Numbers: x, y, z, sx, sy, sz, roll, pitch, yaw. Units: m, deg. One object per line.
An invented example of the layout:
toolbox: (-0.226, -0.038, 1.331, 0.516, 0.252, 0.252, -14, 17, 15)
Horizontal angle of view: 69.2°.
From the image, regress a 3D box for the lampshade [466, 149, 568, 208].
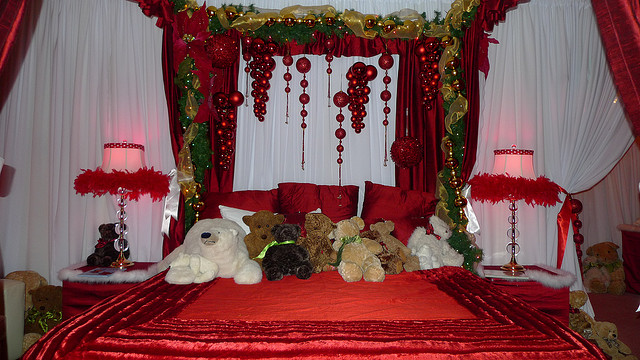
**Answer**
lampshade: (2.374, -0.009, 5.688, 0.753, 0.516, 0.780, 2, 1, 27)

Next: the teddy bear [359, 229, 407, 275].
teddy bear: (0.751, 0.742, 5.261, 0.757, 0.334, 0.525, -9, -1, 9)

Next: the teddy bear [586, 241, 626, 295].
teddy bear: (4.303, 1.334, 7.050, 0.521, 0.791, 0.491, -5, -4, 30)

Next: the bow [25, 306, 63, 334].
bow: (-3.187, 1.601, 5.398, 0.320, 0.329, 0.115, -16, -15, -16)

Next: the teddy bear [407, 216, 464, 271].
teddy bear: (1.321, 0.719, 5.429, 0.649, 0.669, 0.609, 5, -1, 25)

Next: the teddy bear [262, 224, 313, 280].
teddy bear: (-0.364, 0.794, 5.077, 0.557, 0.721, 0.519, -1, -6, -6)

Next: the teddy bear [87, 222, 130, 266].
teddy bear: (-2.611, 0.773, 5.689, 0.442, 0.562, 0.442, 1, -5, -44)

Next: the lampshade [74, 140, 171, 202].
lampshade: (-2.403, -0.084, 5.778, 1.134, 0.678, 1.029, 0, -3, -31)

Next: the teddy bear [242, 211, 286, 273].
teddy bear: (-0.658, 0.677, 5.257, 0.544, 0.771, 0.568, 1, -3, -5)

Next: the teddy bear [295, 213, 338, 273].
teddy bear: (-0.019, 0.698, 5.161, 0.540, 0.635, 0.344, -6, 14, -33)

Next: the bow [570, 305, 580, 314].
bow: (3.073, 1.569, 5.623, 0.095, 0.028, 0.099, 2, 11, 31)

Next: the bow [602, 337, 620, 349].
bow: (3.186, 1.798, 5.110, 0.147, 0.151, 0.055, -25, -12, 25)

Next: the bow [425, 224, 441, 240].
bow: (1.336, 0.616, 5.538, 0.174, 0.158, 0.051, 44, 21, 30)
